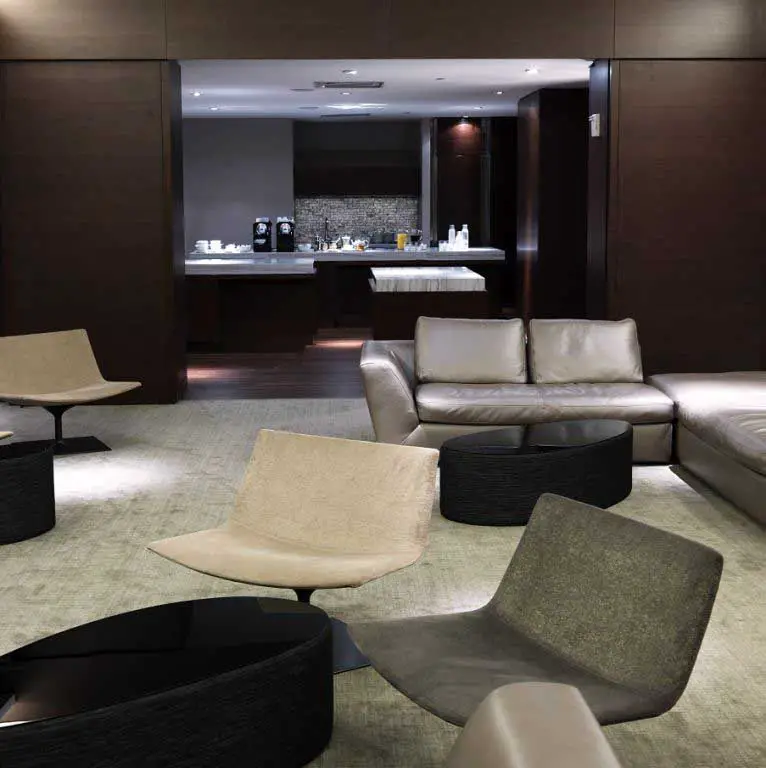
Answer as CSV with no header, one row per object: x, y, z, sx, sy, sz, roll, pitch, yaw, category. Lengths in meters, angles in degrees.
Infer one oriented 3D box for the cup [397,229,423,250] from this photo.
0.461,-2.496,11.804,0.360,0.494,0.479,0,-5,6,cup

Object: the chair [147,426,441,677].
-0.238,0.401,2.286,0.894,0.785,0.760,6,5,23,chair
